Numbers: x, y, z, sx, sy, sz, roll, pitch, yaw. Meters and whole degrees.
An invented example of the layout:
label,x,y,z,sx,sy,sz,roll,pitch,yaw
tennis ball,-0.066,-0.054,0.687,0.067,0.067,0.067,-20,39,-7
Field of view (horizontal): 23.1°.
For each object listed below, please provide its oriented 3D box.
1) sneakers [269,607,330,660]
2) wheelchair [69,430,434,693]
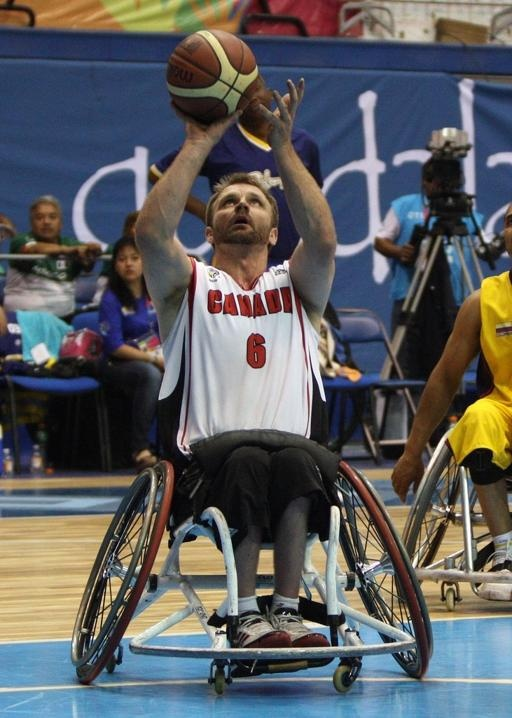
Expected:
label,x,y,z,sx,sy,sz,roll,pitch,yaw
sneakers,0.089,0.607,2.815,0.062,0.062,0.162,1,-1,-33
wheelchair,-0.011,0.558,3.143,0.647,0.971,0.777,5,-30,-9
